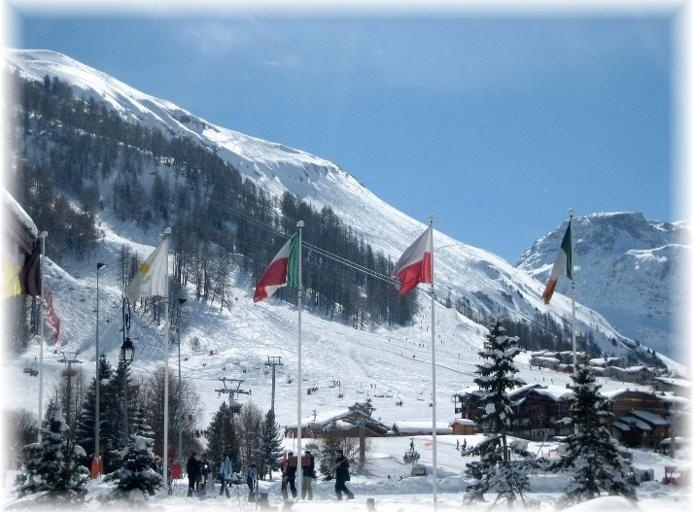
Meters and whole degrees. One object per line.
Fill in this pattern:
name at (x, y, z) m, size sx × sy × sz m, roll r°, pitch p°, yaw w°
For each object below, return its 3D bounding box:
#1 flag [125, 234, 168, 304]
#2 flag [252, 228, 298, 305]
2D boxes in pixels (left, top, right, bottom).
flag at (-37.231, 2.186, 277.178) m, size 6.554 × 12.070 × 5.327 m, roll 1°, pitch -12°, yaw -9°
flag at (-12.535, 1.701, 276.281) m, size 7.384 × 11.979 × 2.323 m, roll -3°, pitch -12°, yaw 9°
